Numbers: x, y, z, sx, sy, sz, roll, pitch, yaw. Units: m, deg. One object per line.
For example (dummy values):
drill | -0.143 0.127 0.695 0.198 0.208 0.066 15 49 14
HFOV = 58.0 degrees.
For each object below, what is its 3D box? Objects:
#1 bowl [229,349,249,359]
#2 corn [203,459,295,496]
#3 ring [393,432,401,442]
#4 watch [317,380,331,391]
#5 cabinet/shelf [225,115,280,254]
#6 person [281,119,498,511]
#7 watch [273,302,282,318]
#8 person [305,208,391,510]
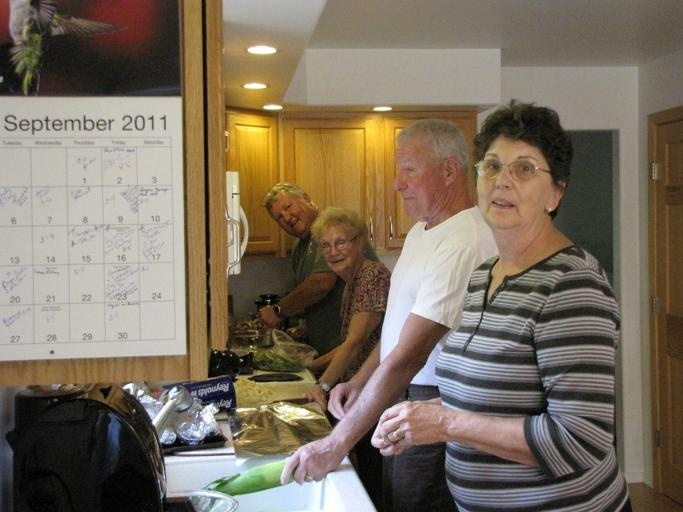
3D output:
bowl | -0.491 0.463 2.971 0.079 0.022 0.087 1 2 0
corn | -0.204 0.497 1.366 0.188 0.047 0.041 -1 -3 -35
ring | 0.126 0.410 1.410 0.016 0.022 0.008 -9 3 -41
watch | -0.062 0.476 2.276 0.040 0.031 0.046 -26 -17 2
cabinet/shelf | -0.529 -0.486 3.779 0.394 0.937 0.366 -1 1 -11
person | 0.227 0.140 1.876 0.519 1.230 0.674 5 6 -11
watch | -0.353 0.313 3.446 0.049 0.078 0.071 -1 -3 5
person | 0.020 0.418 2.721 0.432 1.226 0.429 3 7 -13
